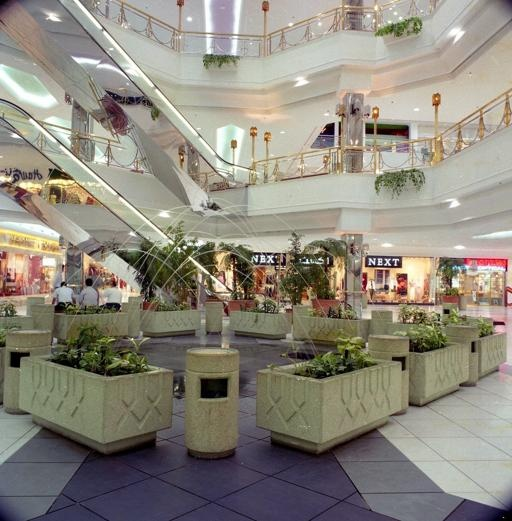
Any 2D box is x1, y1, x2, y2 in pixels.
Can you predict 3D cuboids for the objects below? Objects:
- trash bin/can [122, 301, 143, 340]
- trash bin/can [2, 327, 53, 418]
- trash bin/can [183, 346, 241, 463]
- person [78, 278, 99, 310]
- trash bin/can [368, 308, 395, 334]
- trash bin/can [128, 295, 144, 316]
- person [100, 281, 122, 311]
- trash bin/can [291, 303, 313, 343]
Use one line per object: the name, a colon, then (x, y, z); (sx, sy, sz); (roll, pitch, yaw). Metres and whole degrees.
trash bin/can: (-3.205, 1.466, 11.073); (0.444, 1.032, 0.572); (4, -4, -23)
trash bin/can: (-2.608, 1.255, 4.878); (0.466, 0.887, 0.384); (4, -4, -24)
trash bin/can: (-0.373, 1.197, 3.584); (0.439, 0.858, 0.224); (3, -3, -7)
person: (-4.184, 0.814, 10.860); (0.403, 0.694, 0.938); (4, -4, -20)
trash bin/can: (3.049, 1.480, 10.607); (0.701, 0.893, 0.654); (1, -6, 5)
trash bin/can: (-3.171, 1.153, 11.376); (0.452, 0.593, 0.437); (-1, -6, -2)
person: (-3.594, 0.859, 10.774); (0.488, 0.742, 1.227); (4, -3, -18)
trash bin/can: (1.183, 1.670, 11.636); (0.787, 1.057, 0.825); (-2, -3, 25)
